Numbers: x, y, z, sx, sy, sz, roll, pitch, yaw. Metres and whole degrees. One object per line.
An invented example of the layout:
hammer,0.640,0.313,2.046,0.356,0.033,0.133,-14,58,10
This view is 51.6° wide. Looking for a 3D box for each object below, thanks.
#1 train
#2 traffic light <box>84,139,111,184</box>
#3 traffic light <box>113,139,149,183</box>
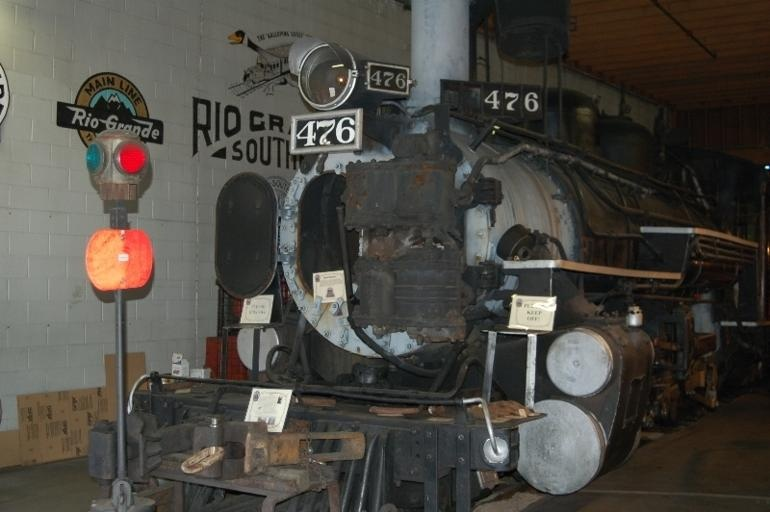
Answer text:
train,2.112,0.100,10.315,3.688,3.526,7.481,0,0,37
traffic light,-2.724,-0.890,7.668,0.285,0.403,0.116,1,4,30
traffic light,-2.424,-0.929,7.724,0.176,0.389,0.377,1,5,27
